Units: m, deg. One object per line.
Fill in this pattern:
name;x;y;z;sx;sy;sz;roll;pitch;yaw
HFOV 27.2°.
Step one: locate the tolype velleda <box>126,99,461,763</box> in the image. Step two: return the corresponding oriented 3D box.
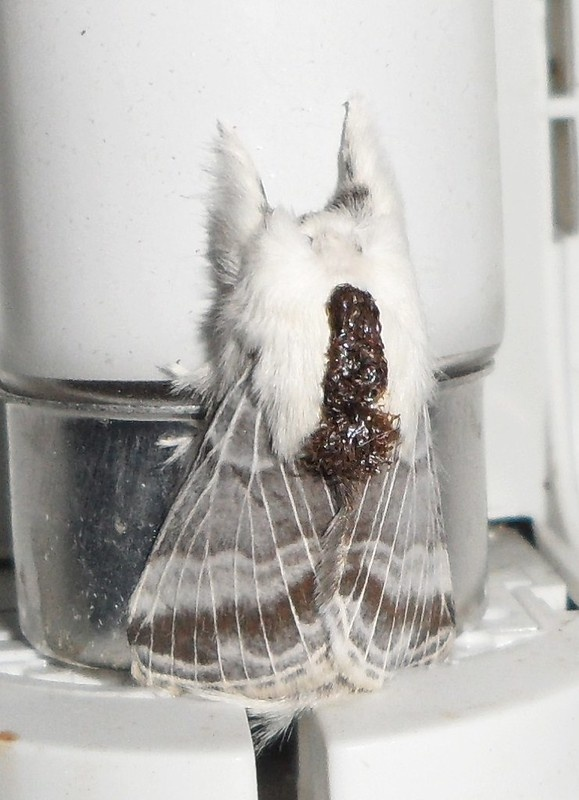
tolype velleda;0.007;0.037;0.624;0.193;0.348;0.101;-1;5;-6
